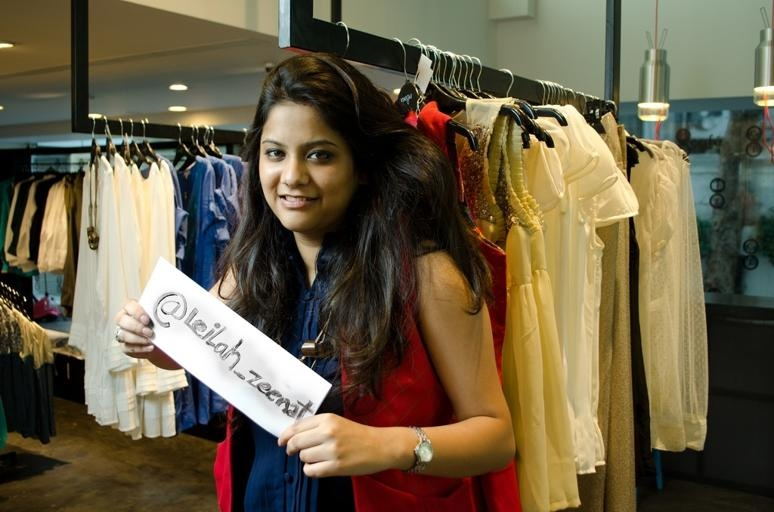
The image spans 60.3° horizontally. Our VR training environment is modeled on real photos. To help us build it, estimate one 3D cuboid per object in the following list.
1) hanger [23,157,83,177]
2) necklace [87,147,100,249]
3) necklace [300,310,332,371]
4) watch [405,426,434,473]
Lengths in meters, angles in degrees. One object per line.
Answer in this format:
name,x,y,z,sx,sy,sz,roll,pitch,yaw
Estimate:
hanger,-2.235,-0.606,4.521,0.331,0.109,0.302,-4,6,-32
necklace,-1.563,-0.313,3.560,0.069,0.562,0.158,-3,5,-23
necklace,-0.240,0.265,2.140,0.068,0.145,0.070,4,-11,-7
watch,0.099,0.578,1.978,0.071,0.026,0.073,-21,17,-26
